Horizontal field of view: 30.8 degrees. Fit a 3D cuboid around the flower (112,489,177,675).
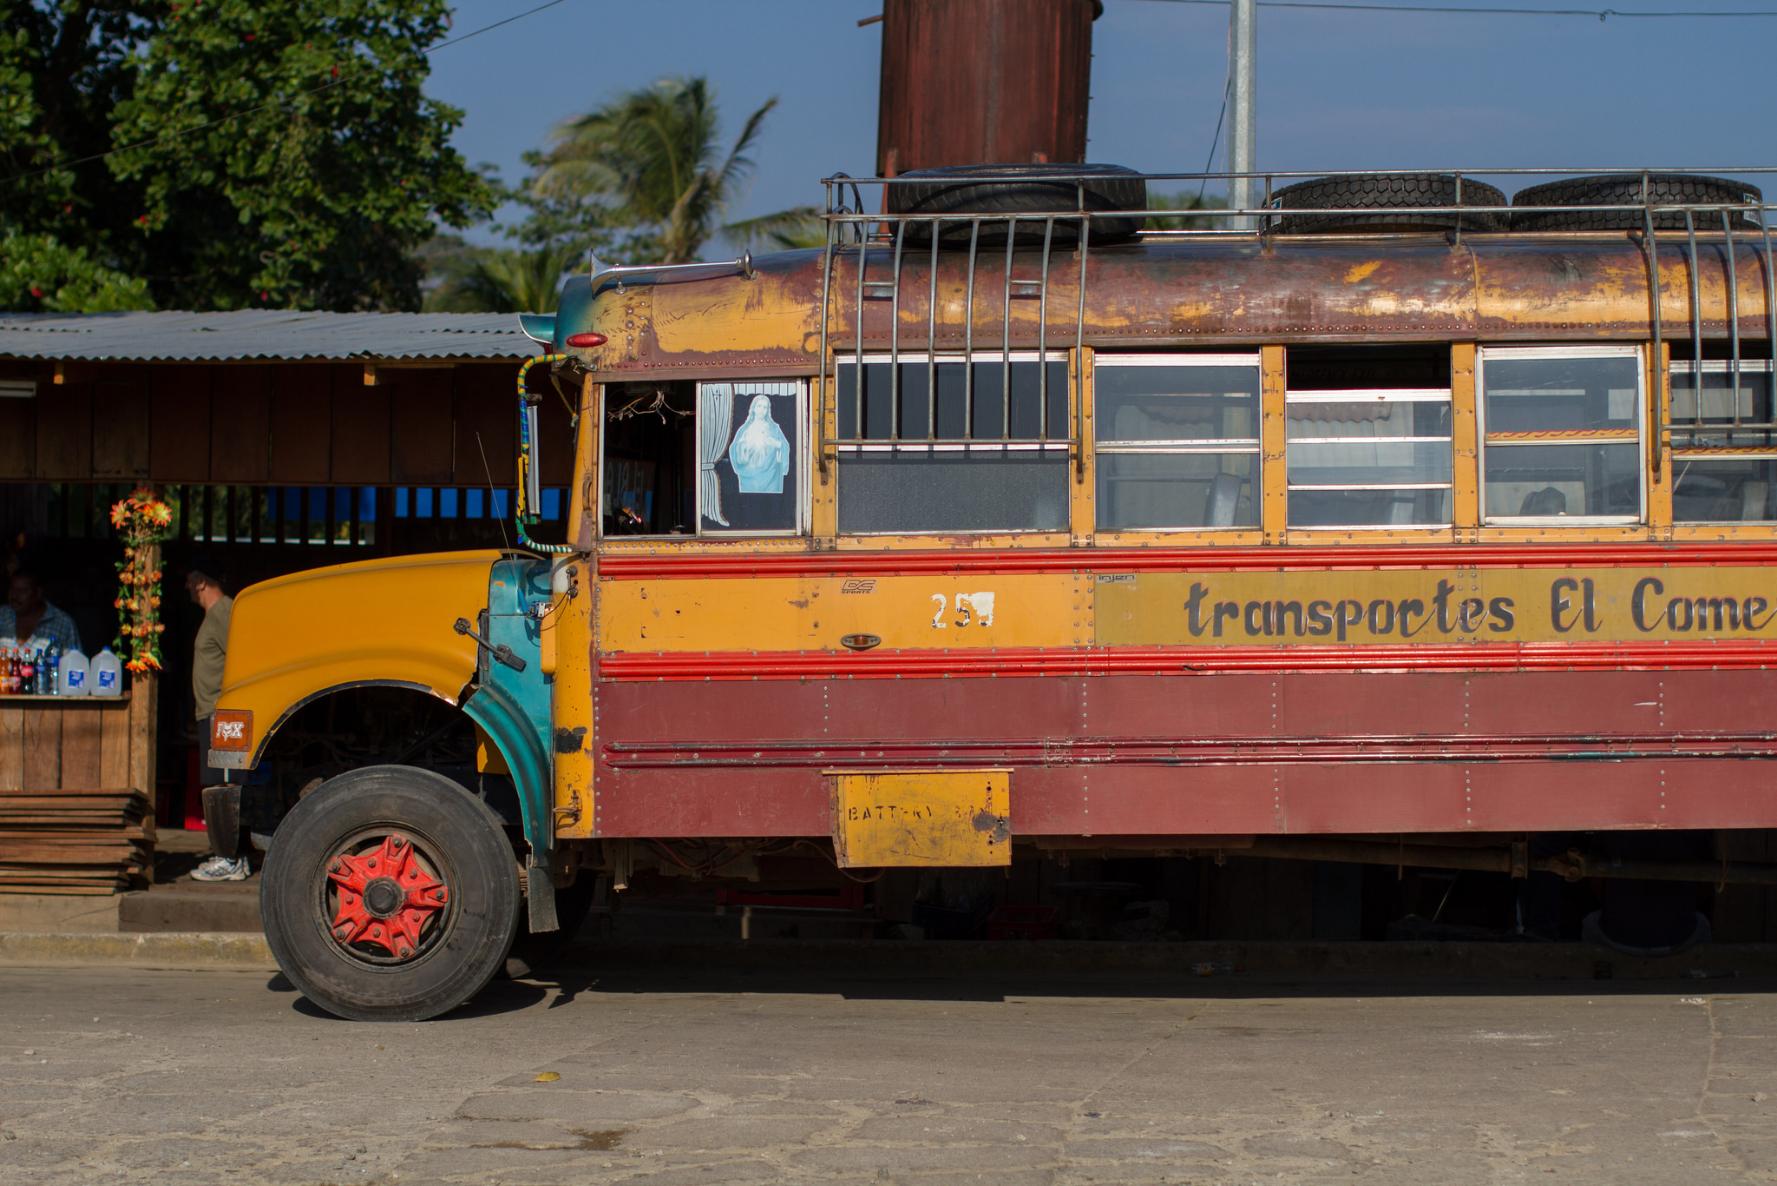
[{"bbox_3d":[-6.261,-0.121,27.147,0.469,1.150,0.643,-2,-1,-14],"label":"flower"}]
